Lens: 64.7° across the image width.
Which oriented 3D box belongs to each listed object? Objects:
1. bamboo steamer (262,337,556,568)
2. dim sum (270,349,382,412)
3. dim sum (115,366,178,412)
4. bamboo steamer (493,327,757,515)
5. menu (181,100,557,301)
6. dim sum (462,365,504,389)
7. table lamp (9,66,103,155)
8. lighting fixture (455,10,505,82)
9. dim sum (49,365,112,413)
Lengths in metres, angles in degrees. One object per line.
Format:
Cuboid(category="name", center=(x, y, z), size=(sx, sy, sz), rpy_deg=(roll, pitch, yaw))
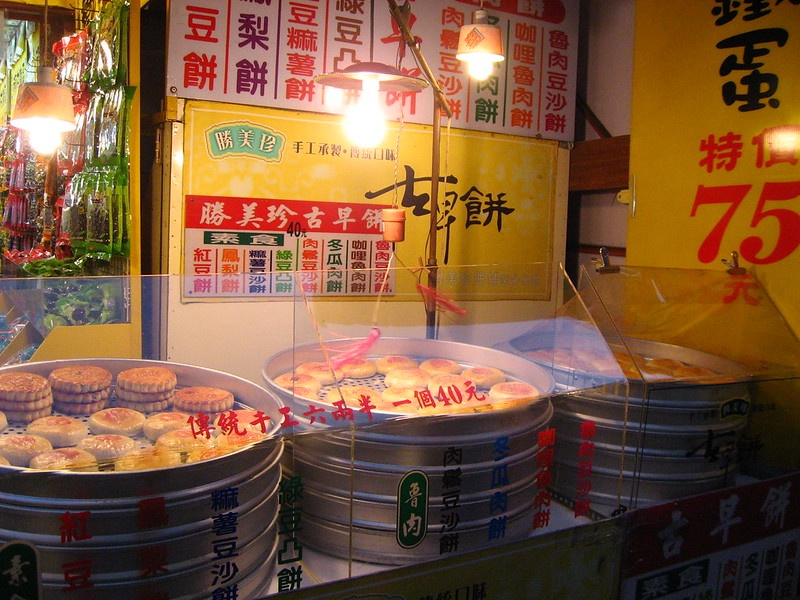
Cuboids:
Cuboid(category="bamboo steamer", center=(0.102, 0.553, 2.027), size=(0.668, 0.378, 0.645), rpy_deg=(2, -8, -17))
Cuboid(category="dim sum", center=(-0.195, 0.213, 1.748), size=(0.324, 0.139, 0.176), rpy_deg=(-2, 7, -22))
Cuboid(category="dim sum", center=(-0.687, 0.239, 1.706), size=(0.125, 0.069, 0.122), rpy_deg=(4, 5, -20))
Cuboid(category="bamboo steamer", center=(0.777, 0.358, 2.156), size=(0.661, 0.662, 0.682), rpy_deg=(3, 4, 33))
Cuboid(category="menu", center=(-0.100, -0.510, 3.707), size=(2.033, 1.165, 0.014), rpy_deg=(2, -9, -10))
Cuboid(category="dim sum", center=(0.245, 0.228, 1.890), size=(0.074, 0.019, 0.073), rpy_deg=(-4, 17, -23))
Cuboid(category="table lamp", center=(-1.689, -0.914, 3.029), size=(0.294, 0.381, 0.287), rpy_deg=(4, 8, 12))
Cuboid(category="lighting fixture", center=(0.357, -1.154, 2.870), size=(0.226, 0.290, 0.220), rpy_deg=(-2, 13, -11))
Cuboid(category="dim sum", center=(-0.855, 0.234, 1.695), size=(0.126, 0.074, 0.125), rpy_deg=(3, 10, -2))
